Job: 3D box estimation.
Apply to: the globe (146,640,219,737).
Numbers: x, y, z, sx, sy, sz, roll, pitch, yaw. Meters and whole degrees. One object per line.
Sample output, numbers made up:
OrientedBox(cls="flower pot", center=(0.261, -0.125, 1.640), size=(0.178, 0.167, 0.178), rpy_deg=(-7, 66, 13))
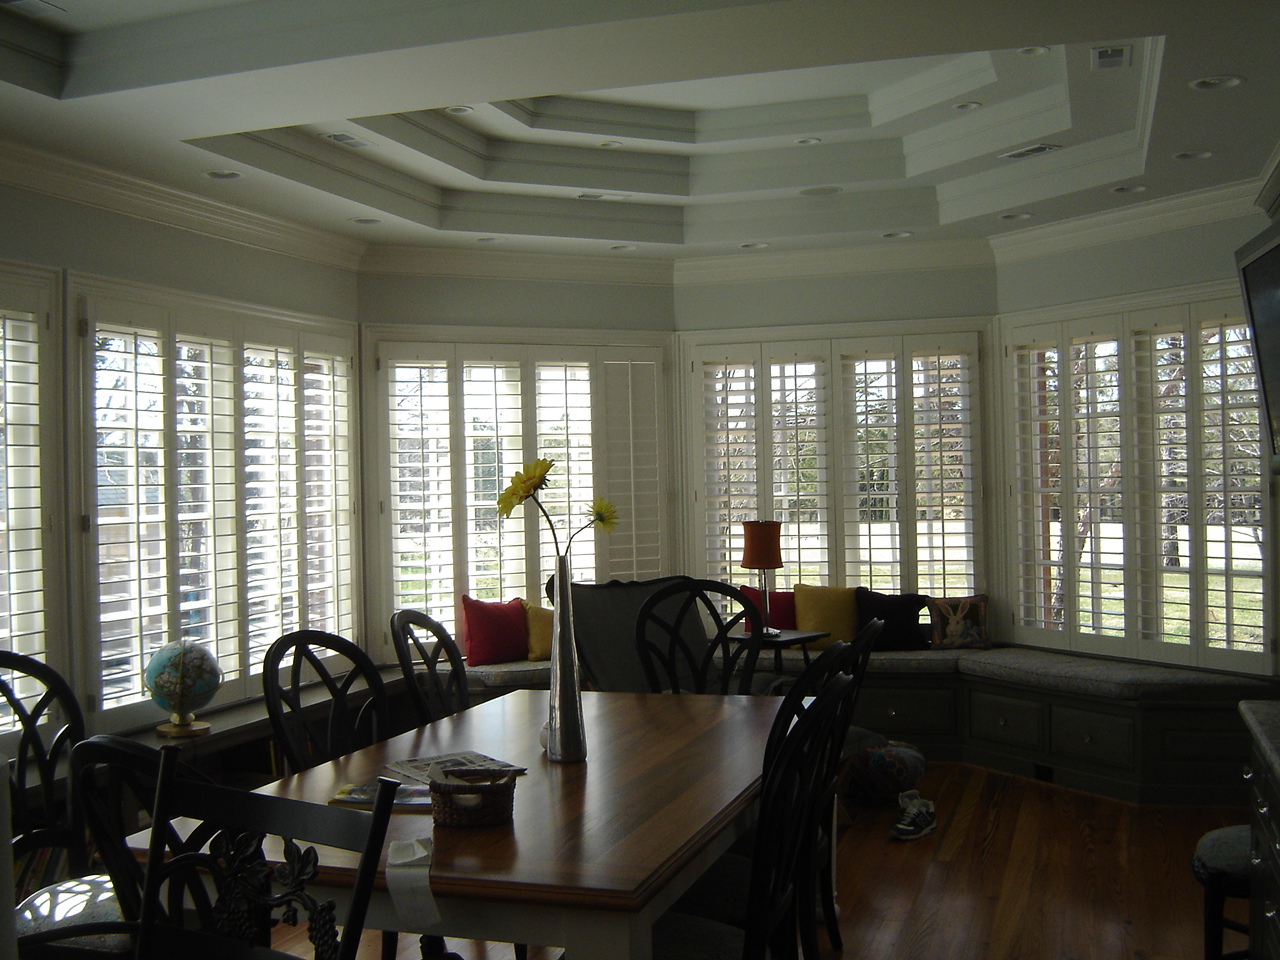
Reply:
OrientedBox(cls="globe", center=(-1.875, 0.848, 4.153), size=(0.297, 0.364, 0.297), rpy_deg=(1, -7, -29))

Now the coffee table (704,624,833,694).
OrientedBox(cls="coffee table", center=(0.739, 0.920, 5.430), size=(0.392, 0.389, 0.404), rpy_deg=(-3, -7, 25))

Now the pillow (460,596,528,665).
OrientedBox(cls="pillow", center=(-0.824, 0.858, 5.691), size=(0.331, 0.302, 0.124), rpy_deg=(-3, -24, -14))

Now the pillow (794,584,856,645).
OrientedBox(cls="pillow", center=(1.046, 0.766, 5.679), size=(0.409, 0.410, 0.152), rpy_deg=(2, -27, 11))

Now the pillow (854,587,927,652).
OrientedBox(cls="pillow", center=(1.469, 0.793, 5.813), size=(0.419, 0.331, 0.239), rpy_deg=(-1, 5, 3))

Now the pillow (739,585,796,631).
OrientedBox(cls="pillow", center=(0.704, 0.705, 5.531), size=(0.317, 0.234, 0.114), rpy_deg=(9, -26, 24))
